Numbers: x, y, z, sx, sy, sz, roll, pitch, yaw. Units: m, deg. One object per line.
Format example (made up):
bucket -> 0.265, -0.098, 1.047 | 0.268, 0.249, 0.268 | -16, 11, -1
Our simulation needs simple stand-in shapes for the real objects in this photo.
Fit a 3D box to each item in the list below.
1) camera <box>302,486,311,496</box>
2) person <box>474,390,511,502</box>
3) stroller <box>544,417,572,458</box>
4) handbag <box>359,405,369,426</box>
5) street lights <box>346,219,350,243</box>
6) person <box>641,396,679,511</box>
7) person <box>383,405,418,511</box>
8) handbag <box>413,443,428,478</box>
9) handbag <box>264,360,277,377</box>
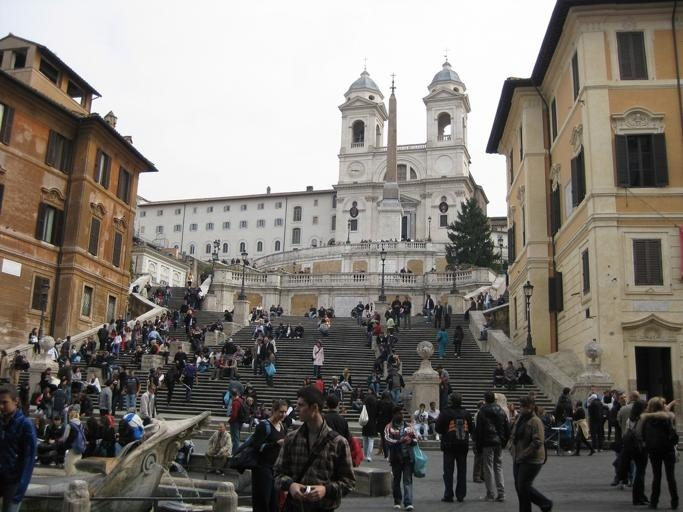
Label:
camera -> -0.342, 2.374, 6.512 | 0.069, 0.074, 0.042 | 0, -13, -2
person -> 2.810, 3.516, 11.886 | 0.653, 1.941, 1.356 | -4, -14, 13
stroller -> 6.318, 5.416, 19.334 | 1.041, 0.995, 0.657 | 2, -25, 18
handbag -> 0.631, 4.355, 17.534 | 0.157, 0.569, 0.602 | 2, -14, -10
street lights -> 1.117, -3.776, 92.520 | 0.649, 3.104, 0.430 | 2, -14, -11
person -> 5.471, 3.340, 10.985 | 0.571, 1.826, 0.657 | -7, -15, 25
person -> 1.137, 3.674, 11.791 | 0.536, 1.768, 0.781 | 7, -15, -30
handbag -> 1.470, 3.823, 12.018 | 0.229, 0.600, 0.664 | -2, -14, 7
handbag -> -3.008, 4.727, 26.952 | 0.386, 0.638, 0.330 | 5, -15, -24
